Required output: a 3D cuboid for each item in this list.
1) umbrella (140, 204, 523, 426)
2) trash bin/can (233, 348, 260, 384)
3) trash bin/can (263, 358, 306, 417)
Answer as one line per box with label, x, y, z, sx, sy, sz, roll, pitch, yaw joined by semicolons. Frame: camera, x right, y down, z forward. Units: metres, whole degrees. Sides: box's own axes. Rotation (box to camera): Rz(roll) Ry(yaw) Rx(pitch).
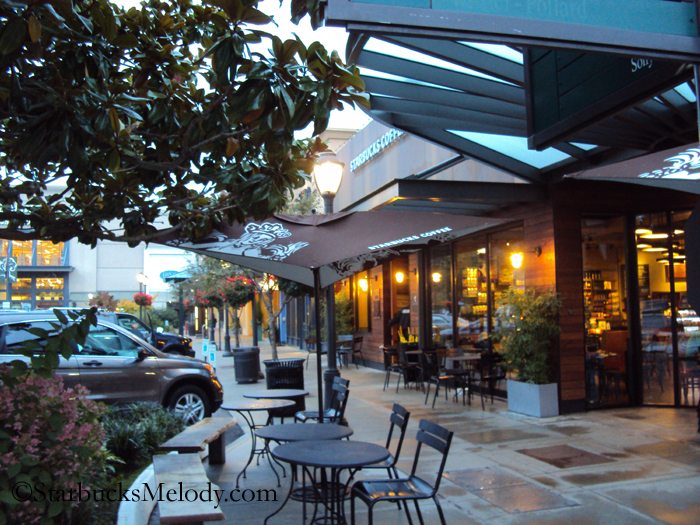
umbrella;-0.418;0.535;7.441;3.047;2.232;2.623;2;-5;-5
trash bin/can;-2.494;2.512;15.623;0.784;0.843;0.782;0;-5;-5
trash bin/can;-1.030;1.911;9.883;0.749;0.854;0.762;-2;-6;11
